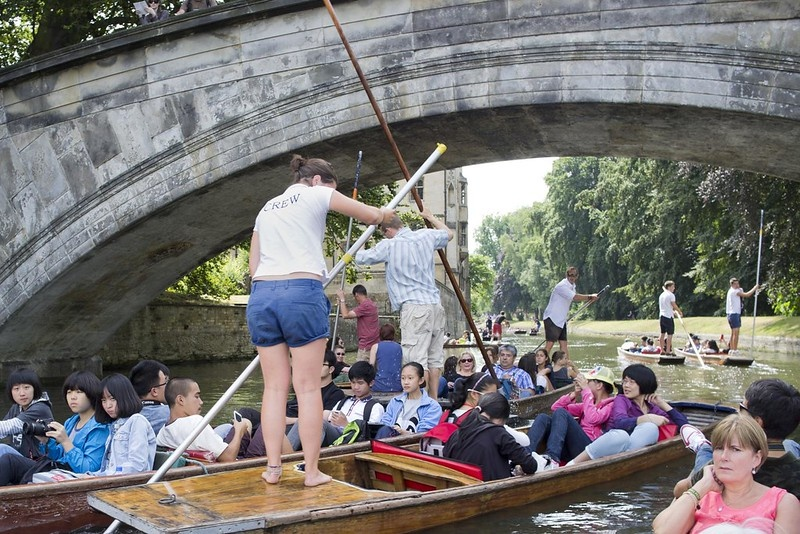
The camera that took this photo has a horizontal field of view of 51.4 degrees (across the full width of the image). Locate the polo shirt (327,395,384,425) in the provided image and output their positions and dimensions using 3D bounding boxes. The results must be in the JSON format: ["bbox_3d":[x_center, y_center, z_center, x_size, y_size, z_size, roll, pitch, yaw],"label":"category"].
[{"bbox_3d":[-0.525,1.677,9.555,0.542,0.297,0.535,-28,11,-33],"label":"polo shirt"}]

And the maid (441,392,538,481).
[{"bbox_3d":[0.870,1.795,8.386,0.702,0.910,0.990,7,-4,42],"label":"maid"}]

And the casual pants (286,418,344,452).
[{"bbox_3d":[-1.009,1.802,9.051,0.335,0.302,0.806,6,2,28],"label":"casual pants"}]

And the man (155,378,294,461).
[{"bbox_3d":[-1.902,1.561,8.807,0.731,0.900,1.465,-3,-1,44],"label":"man"}]

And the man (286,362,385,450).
[{"bbox_3d":[-0.557,1.606,9.474,0.618,1.069,1.285,-6,-16,44],"label":"man"}]

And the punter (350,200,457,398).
[{"bbox_3d":[0.149,0.551,10.543,1.287,2.593,0.885,-7,0,-15],"label":"punter"}]

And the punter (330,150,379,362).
[{"bbox_3d":[-0.632,0.018,12.238,0.721,2.921,0.667,-2,17,-8],"label":"punter"}]

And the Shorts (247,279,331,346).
[{"bbox_3d":[-1.005,0.410,7.330,0.748,0.575,0.548,-1,-2,8],"label":"Shorts"}]

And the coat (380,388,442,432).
[{"bbox_3d":[0.092,1.690,9.519,0.675,0.540,0.525,5,-1,19],"label":"coat"}]

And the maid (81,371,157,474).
[{"bbox_3d":[-2.742,1.535,7.980,0.735,1.037,0.715,-1,2,-28],"label":"maid"}]

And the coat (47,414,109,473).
[{"bbox_3d":[-3.192,1.712,8.106,0.732,0.589,0.563,-3,-10,41],"label":"coat"}]

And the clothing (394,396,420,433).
[{"bbox_3d":[0.082,1.688,9.464,0.261,0.377,0.205,-8,-32,32],"label":"clothing"}]

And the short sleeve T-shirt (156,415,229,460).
[{"bbox_3d":[-2.075,1.694,8.261,0.505,0.218,0.491,28,-62,-32],"label":"short sleeve T-shirt"}]

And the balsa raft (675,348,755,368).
[{"bbox_3d":[7.193,2.083,19.143,0.567,0.230,2.146,6,-2,-24],"label":"balsa raft"}]
